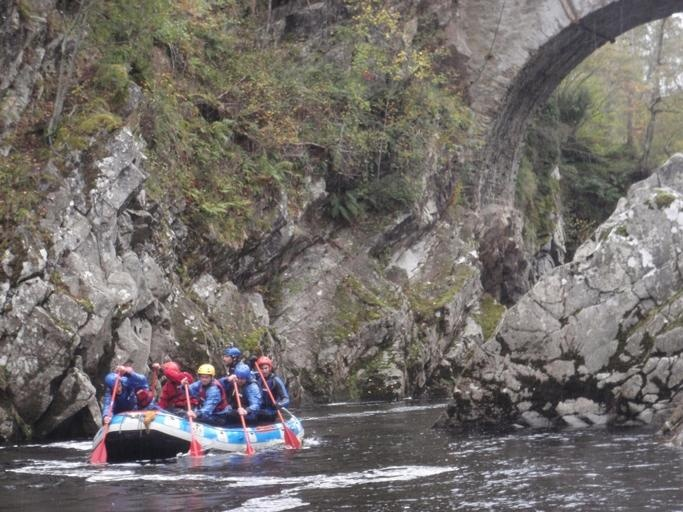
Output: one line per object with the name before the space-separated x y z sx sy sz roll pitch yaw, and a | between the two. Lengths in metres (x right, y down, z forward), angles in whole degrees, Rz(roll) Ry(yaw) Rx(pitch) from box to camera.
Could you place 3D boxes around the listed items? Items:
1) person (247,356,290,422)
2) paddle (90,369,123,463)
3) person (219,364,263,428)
person | -2.206 4.130 45.612 0.977 2.049 0.859 -1 -4 4
paddle | -6.885 4.731 42.794 0.612 2.543 0.520 1 -4 -34
person | -2.953 4.167 44.633 0.982 1.969 1.028 -4 -1 -1
